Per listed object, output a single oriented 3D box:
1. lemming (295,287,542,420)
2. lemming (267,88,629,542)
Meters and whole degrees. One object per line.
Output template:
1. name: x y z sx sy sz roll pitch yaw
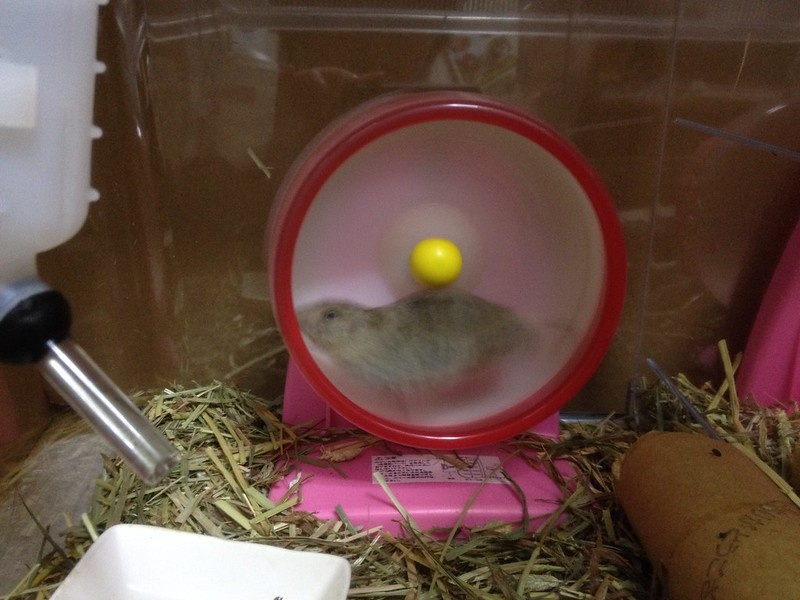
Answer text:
1. lemming: 0.021 0.064 0.907 0.319 0.117 0.179 0 -74 -3
2. lemming: 0.050 0.016 0.863 0.448 0.449 0.430 4 -41 -13
